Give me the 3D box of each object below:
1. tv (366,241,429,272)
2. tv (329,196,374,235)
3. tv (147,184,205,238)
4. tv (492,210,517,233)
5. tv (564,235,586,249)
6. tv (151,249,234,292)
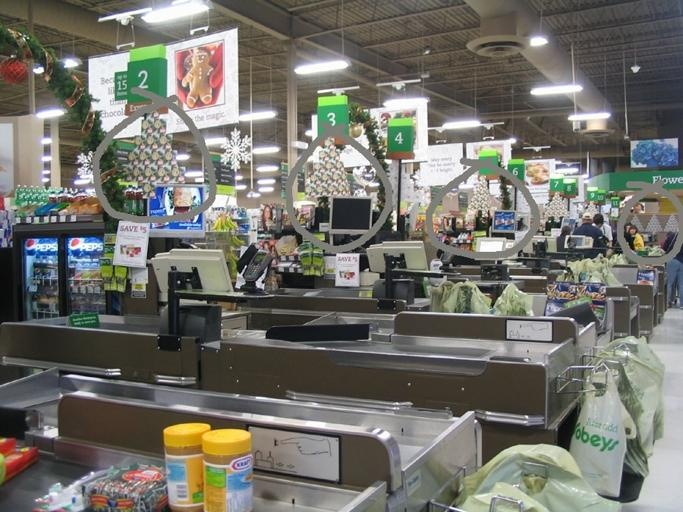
[{"bbox_3d":[0.640,-0.067,5.836,0.469,0.337,0.110,-9,15,16],"label":"tv"},{"bbox_3d":[0.103,-0.434,6.177,0.513,0.438,0.055,0,0,-11],"label":"tv"},{"bbox_3d":[-1.655,-0.430,5.659,0.623,0.609,0.067,0,2,17],"label":"tv"},{"bbox_3d":[2.795,-0.576,9.832,0.377,0.390,0.139,2,6,25],"label":"tv"},{"bbox_3d":[4.146,-0.238,10.151,0.410,0.299,0.227,2,-9,17],"label":"tv"},{"bbox_3d":[-1.046,0.105,4.064,0.644,0.296,0.129,3,7,30],"label":"tv"}]
